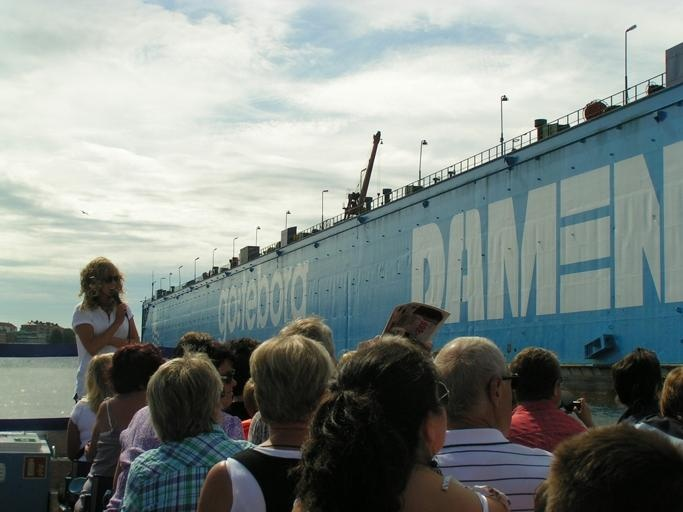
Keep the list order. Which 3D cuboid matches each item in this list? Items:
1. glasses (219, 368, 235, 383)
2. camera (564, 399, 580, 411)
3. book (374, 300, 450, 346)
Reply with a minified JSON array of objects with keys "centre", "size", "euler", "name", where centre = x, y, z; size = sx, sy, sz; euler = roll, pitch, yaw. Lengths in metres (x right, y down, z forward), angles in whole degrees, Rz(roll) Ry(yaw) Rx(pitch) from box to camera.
[{"centre":[-1.018,1.058,7.477],"size":[0.119,0.125,0.040],"euler":[-3,-21,2],"name":"glasses"},{"centre":[2.057,1.329,7.504],"size":[0.141,0.050,0.098],"euler":[-5,4,-36],"name":"camera"},{"centre":[0.549,0.479,6.085],"size":[0.371,0.344,0.090],"euler":[27,17,-5],"name":"book"}]
